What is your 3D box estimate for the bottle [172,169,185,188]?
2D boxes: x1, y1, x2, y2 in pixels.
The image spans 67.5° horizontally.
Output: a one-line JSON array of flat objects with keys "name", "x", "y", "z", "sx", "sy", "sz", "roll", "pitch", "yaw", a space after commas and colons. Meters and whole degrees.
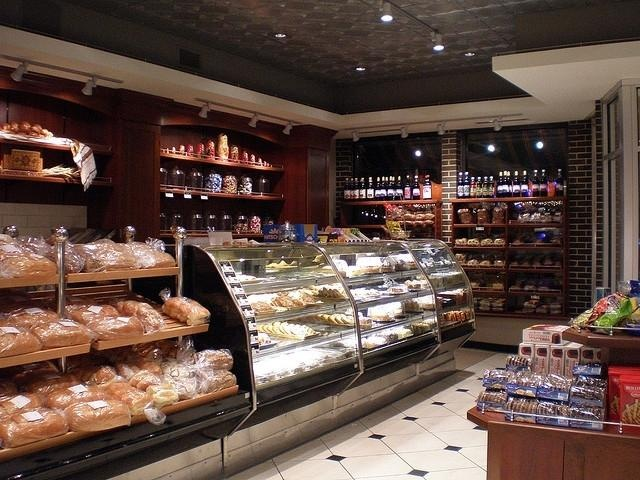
[{"name": "bottle", "x": -1.892, "y": -0.828, "z": 6.421, "sx": 0.106, "sy": 0.240, "sz": 0.238, "roll": 1, "pitch": 2, "yaw": 21}]

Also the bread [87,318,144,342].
[{"name": "bread", "x": -1.302, "y": 0.566, "z": 3.047, "sx": 0.215, "sy": 0.043, "sz": 0.195, "roll": -1, "pitch": 8, "yaw": -35}]

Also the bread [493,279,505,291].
[{"name": "bread", "x": 2.809, "y": 0.713, "z": 7.552, "sx": 0.173, "sy": 0.070, "sz": 0.198, "roll": -1, "pitch": 5, "yaw": 21}]

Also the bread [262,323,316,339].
[{"name": "bread", "x": -0.284, "y": 0.799, "z": 4.213, "sx": 0.344, "sy": 0.031, "sz": 0.201, "roll": 3, "pitch": 2, "yaw": 30}]

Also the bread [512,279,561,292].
[{"name": "bread", "x": 3.307, "y": 0.689, "z": 7.377, "sx": 0.728, "sy": 0.189, "sz": 0.234, "roll": 1, "pitch": 2, "yaw": 20}]

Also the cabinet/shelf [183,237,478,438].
[{"name": "cabinet/shelf", "x": 0.073, "y": 0.901, "z": 4.346, "sx": 2.578, "sy": 0.771, "sz": 0.910, "roll": -3, "pitch": 4, "yaw": -45}]

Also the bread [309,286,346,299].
[{"name": "bread", "x": 0.089, "y": 0.489, "z": 4.436, "sx": 0.214, "sy": 0.048, "sz": 0.191, "roll": 2, "pitch": 1, "yaw": 40}]

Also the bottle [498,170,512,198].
[{"name": "bottle", "x": 2.893, "y": -0.885, "z": 7.561, "sx": 0.229, "sy": 0.426, "sz": 0.280, "roll": 1, "pitch": 2, "yaw": 17}]

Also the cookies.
[{"name": "cookies", "x": 1.191, "y": 0.791, "z": 2.585, "sx": 0.479, "sy": 0.124, "sz": 0.421, "roll": 0, "pitch": 0, "yaw": -29}]

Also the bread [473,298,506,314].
[{"name": "bread", "x": 2.692, "y": 1.013, "z": 7.592, "sx": 0.308, "sy": 0.096, "sz": 0.372, "roll": 0, "pitch": 1, "yaw": 33}]

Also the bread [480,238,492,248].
[{"name": "bread", "x": 2.619, "y": 0.045, "z": 7.592, "sx": 0.143, "sy": 0.102, "sz": 0.165, "roll": -19, "pitch": -26, "yaw": 23}]

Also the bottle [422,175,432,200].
[{"name": "bottle", "x": 1.792, "y": -0.883, "z": 8.071, "sx": 0.155, "sy": 0.411, "sz": 0.287, "roll": 1, "pitch": 2, "yaw": 7}]

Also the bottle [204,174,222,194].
[{"name": "bottle", "x": -1.501, "y": -0.805, "z": 6.737, "sx": 0.206, "sy": 0.283, "sz": 0.162, "roll": 0, "pitch": 2, "yaw": -21}]

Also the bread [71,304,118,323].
[{"name": "bread", "x": -1.493, "y": 0.467, "z": 3.107, "sx": 0.173, "sy": 0.036, "sz": 0.166, "roll": 11, "pitch": 10, "yaw": 33}]

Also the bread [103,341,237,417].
[{"name": "bread", "x": -1.088, "y": 0.939, "z": 3.285, "sx": 0.543, "sy": 0.114, "sz": 0.509, "roll": -3, "pitch": 7, "yaw": -40}]

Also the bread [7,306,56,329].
[{"name": "bread", "x": -1.744, "y": 0.468, "z": 2.897, "sx": 0.161, "sy": 0.032, "sz": 0.168, "roll": 10, "pitch": 10, "yaw": 43}]

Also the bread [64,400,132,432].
[{"name": "bread", "x": -1.270, "y": 0.997, "z": 2.754, "sx": 0.287, "sy": 0.062, "sz": 0.185, "roll": 2, "pitch": 3, "yaw": -34}]

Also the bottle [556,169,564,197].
[{"name": "bottle", "x": 3.663, "y": -0.885, "z": 7.329, "sx": 0.112, "sy": 0.431, "sz": 0.356, "roll": 1, "pitch": 2, "yaw": 25}]

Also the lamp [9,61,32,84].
[{"name": "lamp", "x": -2.862, "y": -1.628, "z": 4.642, "sx": 0.136, "sy": 0.112, "sz": 0.294, "roll": 21, "pitch": 30, "yaw": -26}]

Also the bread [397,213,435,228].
[{"name": "bread", "x": 1.616, "y": -0.330, "z": 8.026, "sx": 0.563, "sy": 0.242, "sz": 0.145, "roll": 0, "pitch": 2, "yaw": 5}]

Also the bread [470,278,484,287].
[{"name": "bread", "x": 2.502, "y": 0.674, "z": 7.743, "sx": 0.203, "sy": 0.042, "sz": 0.156, "roll": 6, "pitch": 37, "yaw": -19}]

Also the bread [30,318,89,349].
[{"name": "bread", "x": -1.524, "y": 0.553, "z": 2.847, "sx": 0.208, "sy": 0.045, "sz": 0.211, "roll": -3, "pitch": 12, "yaw": -43}]

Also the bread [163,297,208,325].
[{"name": "bread", "x": -0.969, "y": 0.512, "z": 3.463, "sx": 0.324, "sy": 0.073, "sz": 0.181, "roll": 8, "pitch": 7, "yaw": 31}]

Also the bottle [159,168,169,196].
[{"name": "bottle", "x": -2.052, "y": -0.795, "z": 6.317, "sx": 0.111, "sy": 0.362, "sz": 0.471, "roll": 0, "pitch": 2, "yaw": -18}]

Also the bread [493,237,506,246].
[{"name": "bread", "x": 2.810, "y": 0.024, "z": 7.515, "sx": 0.176, "sy": 0.109, "sz": 0.044, "roll": 3, "pitch": -14, "yaw": 18}]

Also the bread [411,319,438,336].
[{"name": "bread", "x": 1.167, "y": 0.977, "z": 5.407, "sx": 0.256, "sy": 0.054, "sz": 0.200, "roll": 0, "pitch": 1, "yaw": -3}]

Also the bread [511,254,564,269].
[{"name": "bread", "x": 3.306, "y": 0.326, "z": 7.363, "sx": 0.745, "sy": 0.207, "sz": 0.349, "roll": 1, "pitch": 2, "yaw": 22}]

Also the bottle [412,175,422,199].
[{"name": "bottle", "x": 1.653, "y": -0.909, "z": 8.197, "sx": 0.159, "sy": 0.447, "sz": 0.385, "roll": 1, "pitch": 2, "yaw": 11}]

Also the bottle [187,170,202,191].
[{"name": "bottle", "x": -1.704, "y": -0.832, "z": 6.602, "sx": 0.143, "sy": 0.286, "sz": 0.268, "roll": 1, "pitch": 2, "yaw": 30}]

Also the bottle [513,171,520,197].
[{"name": "bottle", "x": 3.077, "y": -0.879, "z": 7.530, "sx": 0.118, "sy": 0.422, "sz": 0.359, "roll": 1, "pitch": 2, "yaw": 20}]

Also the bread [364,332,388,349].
[{"name": "bread", "x": 0.552, "y": 0.992, "z": 4.739, "sx": 0.197, "sy": 0.029, "sz": 0.157, "roll": -2, "pitch": 7, "yaw": -16}]

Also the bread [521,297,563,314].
[{"name": "bread", "x": 3.414, "y": 1.022, "z": 7.345, "sx": 0.416, "sy": 0.100, "sz": 0.362, "roll": 1, "pitch": 2, "yaw": 29}]

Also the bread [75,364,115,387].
[{"name": "bread", "x": -1.427, "y": 0.871, "z": 3.080, "sx": 0.143, "sy": 0.034, "sz": 0.140, "roll": 12, "pitch": 4, "yaw": 28}]

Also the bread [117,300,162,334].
[{"name": "bread", "x": -1.265, "y": 0.531, "z": 3.331, "sx": 0.175, "sy": 0.082, "sz": 0.361, "roll": -5, "pitch": 20, "yaw": -45}]

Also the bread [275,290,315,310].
[{"name": "bread", "x": -0.230, "y": 0.529, "z": 4.255, "sx": 0.268, "sy": 0.050, "sz": 0.186, "roll": -3, "pitch": 6, "yaw": -40}]
